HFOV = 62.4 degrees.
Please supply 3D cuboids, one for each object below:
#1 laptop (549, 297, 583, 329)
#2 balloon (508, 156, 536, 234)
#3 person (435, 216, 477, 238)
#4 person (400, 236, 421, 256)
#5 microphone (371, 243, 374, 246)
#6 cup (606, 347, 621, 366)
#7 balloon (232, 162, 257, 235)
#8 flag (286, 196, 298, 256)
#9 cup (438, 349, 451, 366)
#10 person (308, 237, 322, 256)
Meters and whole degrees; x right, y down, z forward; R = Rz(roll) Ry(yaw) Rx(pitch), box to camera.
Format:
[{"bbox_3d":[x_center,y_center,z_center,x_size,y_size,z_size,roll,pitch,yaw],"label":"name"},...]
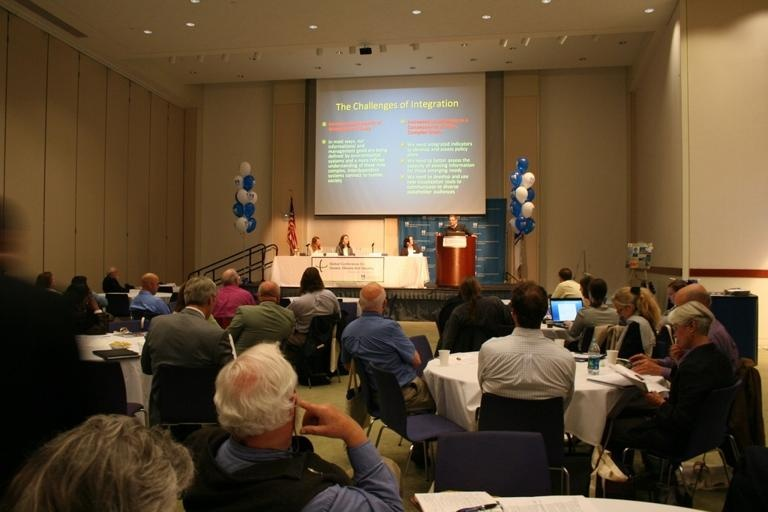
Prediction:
[{"bbox_3d":[2.359,0.720,8.311,0.383,0.349,0.279,1,10,1],"label":"laptop"},{"bbox_3d":[3.196,-1.340,14.690,0.498,1.870,1.113,-1,2,11],"label":"balloon"},{"bbox_3d":[1.594,-0.644,13.733,0.573,0.281,0.796,-4,31,2],"label":"person"},{"bbox_3d":[0.578,-0.233,13.744,0.379,0.370,0.709,-1,3,1],"label":"person"},{"bbox_3d":[-0.269,-0.289,15.736,0.068,0.127,0.145,-2,3,-12],"label":"microphone"},{"bbox_3d":[2.132,0.945,5.939,0.109,0.139,0.114,3,2,0],"label":"cup"},{"bbox_3d":[-3.436,-1.489,15.654,0.522,1.800,1.202,-2,2,-13],"label":"balloon"},{"bbox_3d":[-2.201,-0.788,15.259,0.251,1.386,1.661,-1,3,-8],"label":"flag"},{"bbox_3d":[0.565,0.953,5.947,0.112,0.138,0.116,0,-1,0],"label":"cup"},{"bbox_3d":[-1.434,-0.229,13.224,0.241,0.318,0.805,-2,3,-9],"label":"person"}]
